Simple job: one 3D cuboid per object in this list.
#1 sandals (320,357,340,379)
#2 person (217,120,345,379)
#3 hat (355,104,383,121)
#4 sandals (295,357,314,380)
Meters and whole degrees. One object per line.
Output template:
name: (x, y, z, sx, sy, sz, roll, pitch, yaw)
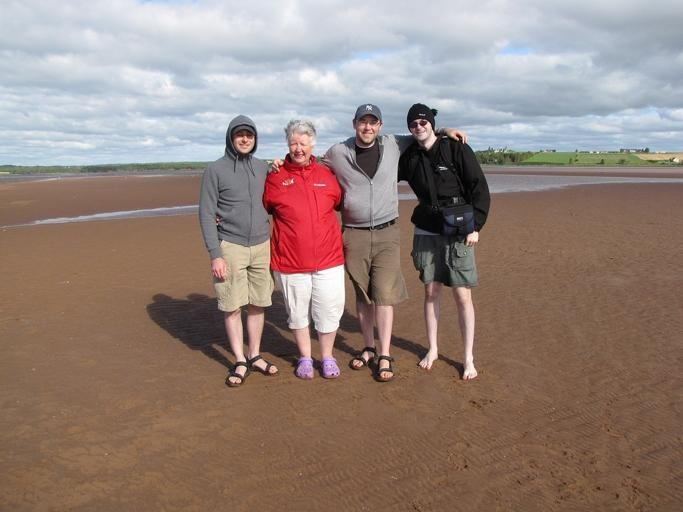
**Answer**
sandals: (-0.142, 1.380, 6.290, 0.175, 0.126, 0.294, -2, 3, -7)
person: (-0.408, -0.002, 5.958, 0.911, 3.075, 0.613, -2, 13, -8)
hat: (0.281, -1.567, 5.549, 0.291, 0.168, 0.286, 1, 13, 2)
sandals: (-0.457, 1.371, 6.233, 0.170, 0.139, 0.321, -1, 0, -4)
